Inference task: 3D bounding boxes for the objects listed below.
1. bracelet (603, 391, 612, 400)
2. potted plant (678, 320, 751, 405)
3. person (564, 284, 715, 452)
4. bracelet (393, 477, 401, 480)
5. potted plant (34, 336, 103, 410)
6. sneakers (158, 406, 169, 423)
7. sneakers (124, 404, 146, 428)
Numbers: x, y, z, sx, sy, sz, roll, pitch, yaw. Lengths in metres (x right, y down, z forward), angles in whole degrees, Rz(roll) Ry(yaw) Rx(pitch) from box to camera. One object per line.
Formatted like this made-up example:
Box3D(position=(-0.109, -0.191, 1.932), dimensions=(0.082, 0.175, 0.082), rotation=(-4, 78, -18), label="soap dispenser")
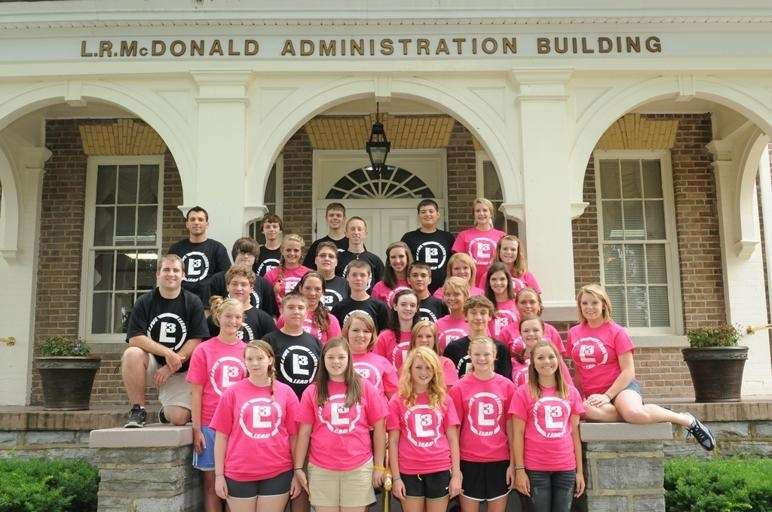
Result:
Box3D(position=(2.417, 1.521, 8.745), dimensions=(0.066, 0.017, 0.062), rotation=(19, 18, -17), label="bracelet")
Box3D(position=(4.608, 1.500, 11.249), dimensions=(0.929, 0.977, 0.894), rotation=(-4, -13, 24), label="potted plant")
Box3D(position=(2.520, 1.070, 8.851), dimensions=(1.026, 1.494, 0.416), rotation=(-3, -8, 11), label="person")
Box3D(position=(0.123, 2.239, 8.156), dimensions=(0.084, 0.037, 0.027), rotation=(-2, -7, 0), label="bracelet")
Box3D(position=(-4.345, 1.594, 10.990), dimensions=(0.996, 0.990, 0.965), rotation=(1, -6, -7), label="potted plant")
Box3D(position=(-2.451, 1.743, 8.872), dimensions=(0.076, 0.174, 0.197), rotation=(4, -9, -35), label="sneakers")
Box3D(position=(-2.694, 1.706, 8.677), dimensions=(0.191, 0.234, 0.332), rotation=(0, -7, -13), label="sneakers")
